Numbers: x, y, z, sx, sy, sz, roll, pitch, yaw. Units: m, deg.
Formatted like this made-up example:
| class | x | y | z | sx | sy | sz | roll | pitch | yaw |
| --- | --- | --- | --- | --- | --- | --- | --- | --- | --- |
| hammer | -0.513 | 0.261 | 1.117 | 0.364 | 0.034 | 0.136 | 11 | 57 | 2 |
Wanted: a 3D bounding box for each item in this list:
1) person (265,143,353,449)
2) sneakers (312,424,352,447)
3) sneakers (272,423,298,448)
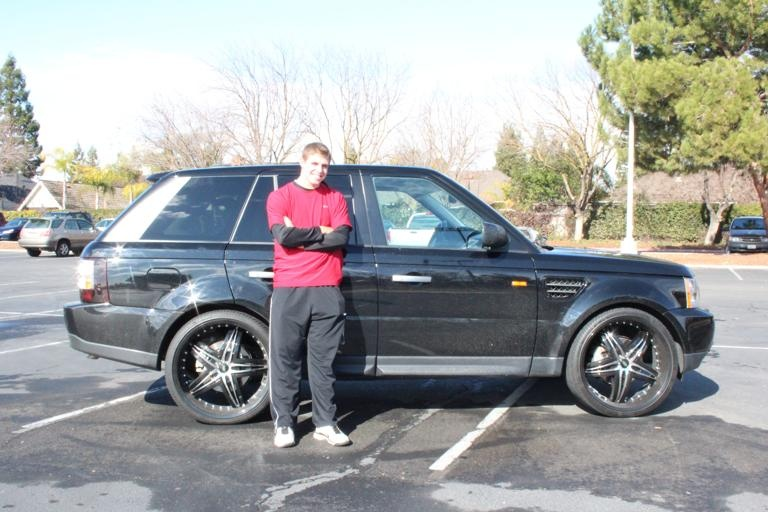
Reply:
| class | x | y | z | sx | sy | sz | roll | pitch | yaw |
| --- | --- | --- | --- | --- | --- | --- | --- | --- | --- |
| person | -0.686 | 0.348 | 5.078 | 0.780 | 2.747 | 0.638 | -1 | 10 | -4 |
| sneakers | -0.477 | 1.642 | 5.145 | 0.371 | 0.127 | 0.161 | 2 | 5 | 31 |
| sneakers | -0.923 | 1.632 | 5.107 | 0.209 | 0.190 | 0.251 | -2 | 9 | -9 |
